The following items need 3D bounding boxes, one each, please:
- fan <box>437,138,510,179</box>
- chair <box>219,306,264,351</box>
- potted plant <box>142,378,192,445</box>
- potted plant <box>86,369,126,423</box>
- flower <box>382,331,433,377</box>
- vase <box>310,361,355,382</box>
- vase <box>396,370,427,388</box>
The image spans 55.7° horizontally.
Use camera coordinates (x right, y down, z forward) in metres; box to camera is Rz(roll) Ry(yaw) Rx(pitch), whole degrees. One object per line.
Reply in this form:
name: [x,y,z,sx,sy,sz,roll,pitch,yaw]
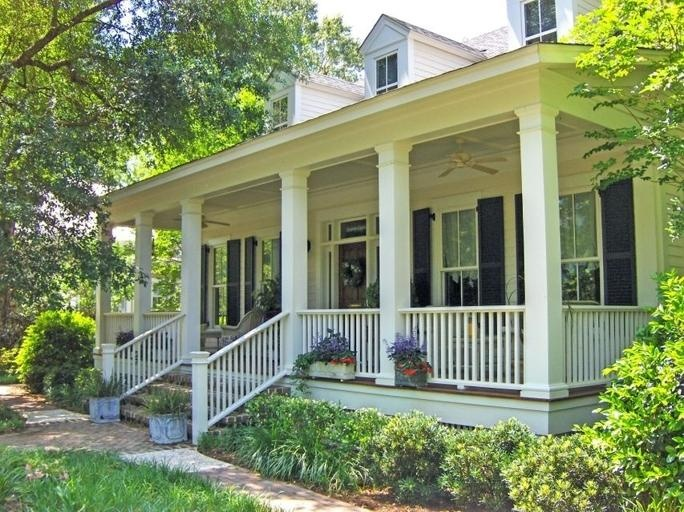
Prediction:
fan: [2.236,-1.587,11.014,1.050,0.448,1.884,-3,-2,10]
chair: [-2.217,1.550,14.054,0.903,1.384,0.829,0,-3,2]
potted plant: [-2.773,2.511,10.164,0.609,0.813,0.716,-4,-3,44]
potted plant: [-4.428,2.580,11.812,0.730,0.931,0.672,-3,-9,-10]
flower: [0.947,1.422,9.303,0.566,0.443,0.515,16,-17,-31]
vase: [-0.182,1.830,10.407,0.807,0.292,0.231,-4,-2,33]
vase: [0.985,1.771,9.278,0.270,0.183,0.276,-6,-9,44]
